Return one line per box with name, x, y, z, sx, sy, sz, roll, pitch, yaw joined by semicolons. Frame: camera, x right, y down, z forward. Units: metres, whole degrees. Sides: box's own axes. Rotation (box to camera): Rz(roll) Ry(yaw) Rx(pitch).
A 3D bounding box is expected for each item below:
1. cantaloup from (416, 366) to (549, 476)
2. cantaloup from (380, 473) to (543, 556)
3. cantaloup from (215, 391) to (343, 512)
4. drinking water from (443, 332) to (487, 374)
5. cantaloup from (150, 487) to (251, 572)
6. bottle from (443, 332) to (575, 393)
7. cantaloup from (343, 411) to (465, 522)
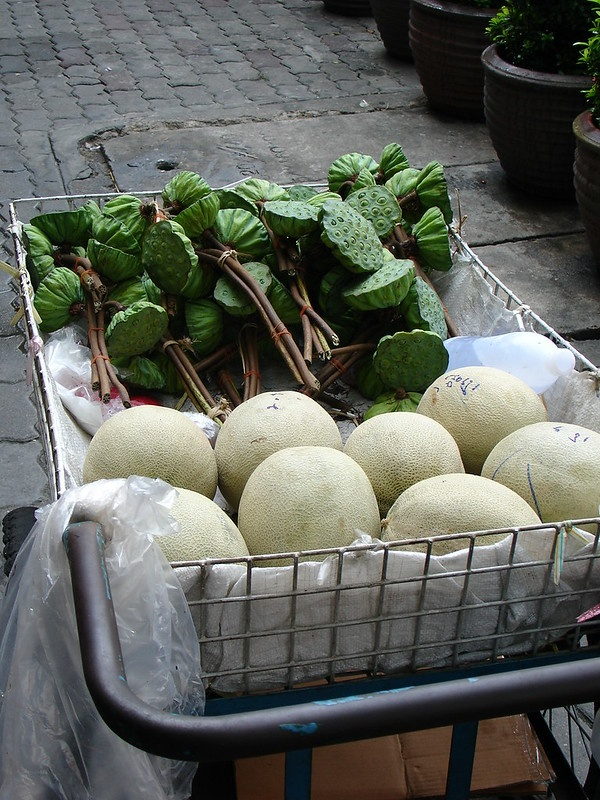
cantaloup;0.345;0.037;1.602;0.254;0.223;0.251;5;69;4
cantaloup;0.228;0.172;1.119;0.189;0.118;0.097;-3;77;5
cantaloup;-0.012;0.096;1.511;0.250;0.228;0.249;6;66;7
drinking water;0.407;-0.120;1.910;0.116;0.106;0.097;6;82;30
cantaloup;-0.129;0.200;1.188;0.174;0.235;0.132;-2;78;-19
bottle;0.465;-0.078;1.683;0.111;0.098;0.257;-13;18;-23
cantaloup;0.144;0.096;1.400;0.209;0.188;0.208;-7;60;-4
